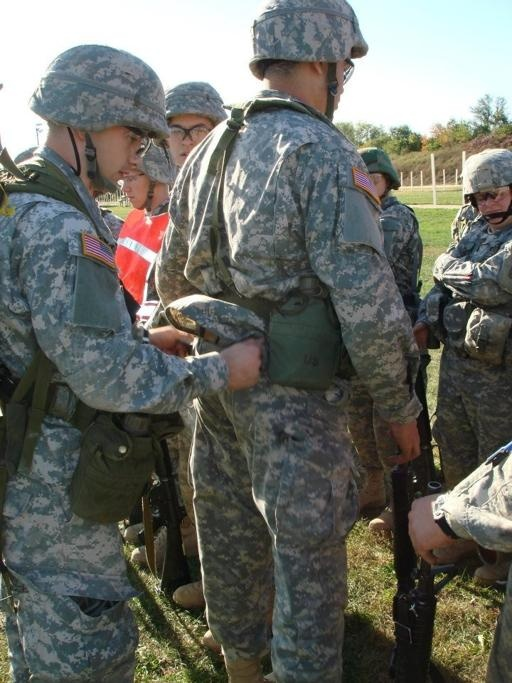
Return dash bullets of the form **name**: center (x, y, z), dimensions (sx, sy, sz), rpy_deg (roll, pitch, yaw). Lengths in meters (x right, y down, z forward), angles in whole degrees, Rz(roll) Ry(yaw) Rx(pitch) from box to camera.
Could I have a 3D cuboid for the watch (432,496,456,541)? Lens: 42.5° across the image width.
- **watch**: center (0.555, 0.539, 1.979), dimensions (0.041, 0.096, 0.078), rpy_deg (-20, 36, -22)
